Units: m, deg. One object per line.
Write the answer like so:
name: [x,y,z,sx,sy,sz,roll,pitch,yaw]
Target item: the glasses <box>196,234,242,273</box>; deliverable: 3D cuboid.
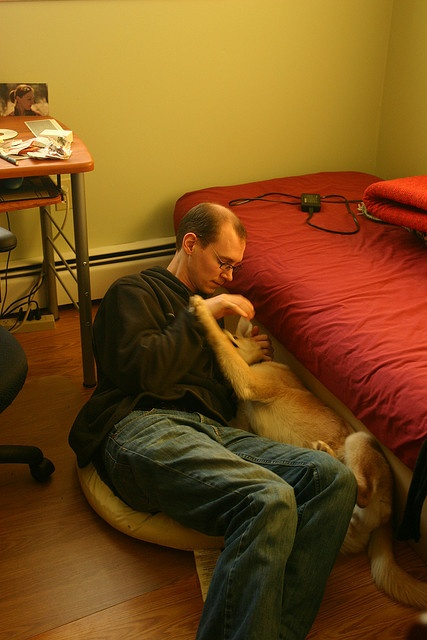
glasses: [0.008,-0.172,1.324,0.099,0.029,0.096,50,8,18]
